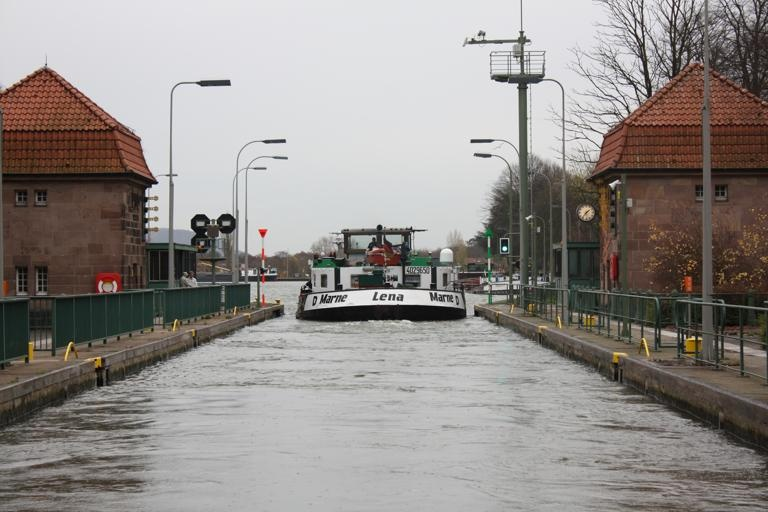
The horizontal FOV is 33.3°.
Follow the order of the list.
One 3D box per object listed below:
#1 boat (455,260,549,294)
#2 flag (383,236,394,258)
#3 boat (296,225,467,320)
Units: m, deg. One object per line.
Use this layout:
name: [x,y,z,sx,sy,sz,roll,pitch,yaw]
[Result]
boat: [9.219,1.701,102.072,4.101,3.564,11.541,0,-4,-7]
flag: [0.224,-0.379,56.960,0.617,1.081,0.774,1,2,-1]
boat: [-0.269,0.745,56.692,7.286,4.235,8.523,0,-3,-1]
